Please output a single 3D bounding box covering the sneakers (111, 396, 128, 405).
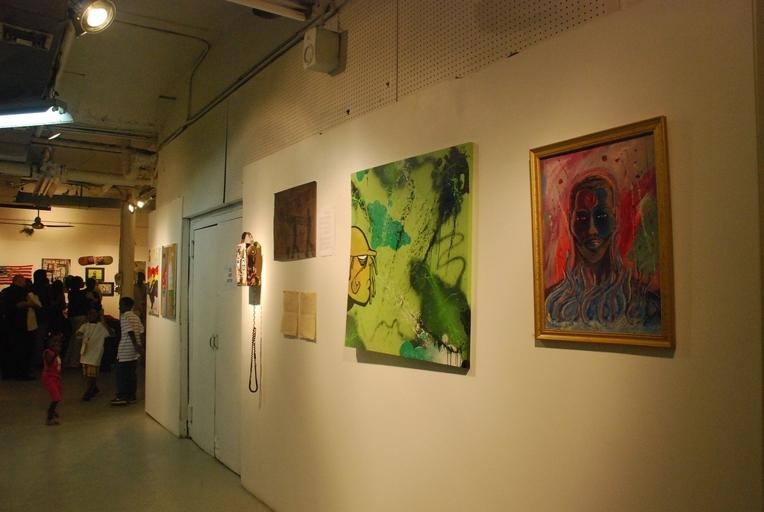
[{"bbox_3d":[-3.855,2.125,8.601,0.240,0.113,0.097,3,-1,26],"label":"sneakers"}]

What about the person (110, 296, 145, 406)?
[{"bbox_3d":[-3.763,1.399,8.650,0.391,1.562,0.852,1,-1,-24],"label":"person"}]

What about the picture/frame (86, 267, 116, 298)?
[{"bbox_3d":[-6.781,0.633,14.092,0.023,0.782,0.715,-4,-4,36],"label":"picture/frame"}]
